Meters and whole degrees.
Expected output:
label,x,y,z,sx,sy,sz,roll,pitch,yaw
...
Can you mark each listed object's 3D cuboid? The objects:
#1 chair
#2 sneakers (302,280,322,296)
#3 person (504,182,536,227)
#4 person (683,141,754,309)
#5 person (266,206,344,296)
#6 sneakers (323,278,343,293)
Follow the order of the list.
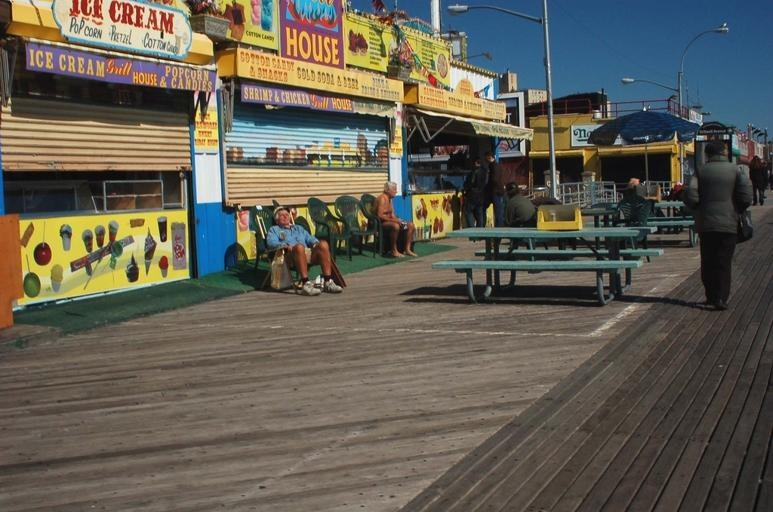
label,x,y,z,sx,sy,sz,roll,pitch,yaw
chair,-1.229,-0.138,13.135,1.387,2.059,1.295,0,3,38
sneakers,-1.254,0.528,12.286,0.300,0.221,0.196,0,14,14
person,2.481,-0.806,14.022,0.568,1.134,0.591,0,8,29
person,4.612,-0.462,10.299,0.945,2.264,0.821,-10,13,-41
person,-1.456,-0.112,12.695,1.057,1.528,1.717,-6,4,-39
sneakers,-0.896,0.506,12.466,0.316,0.211,0.167,4,8,30
